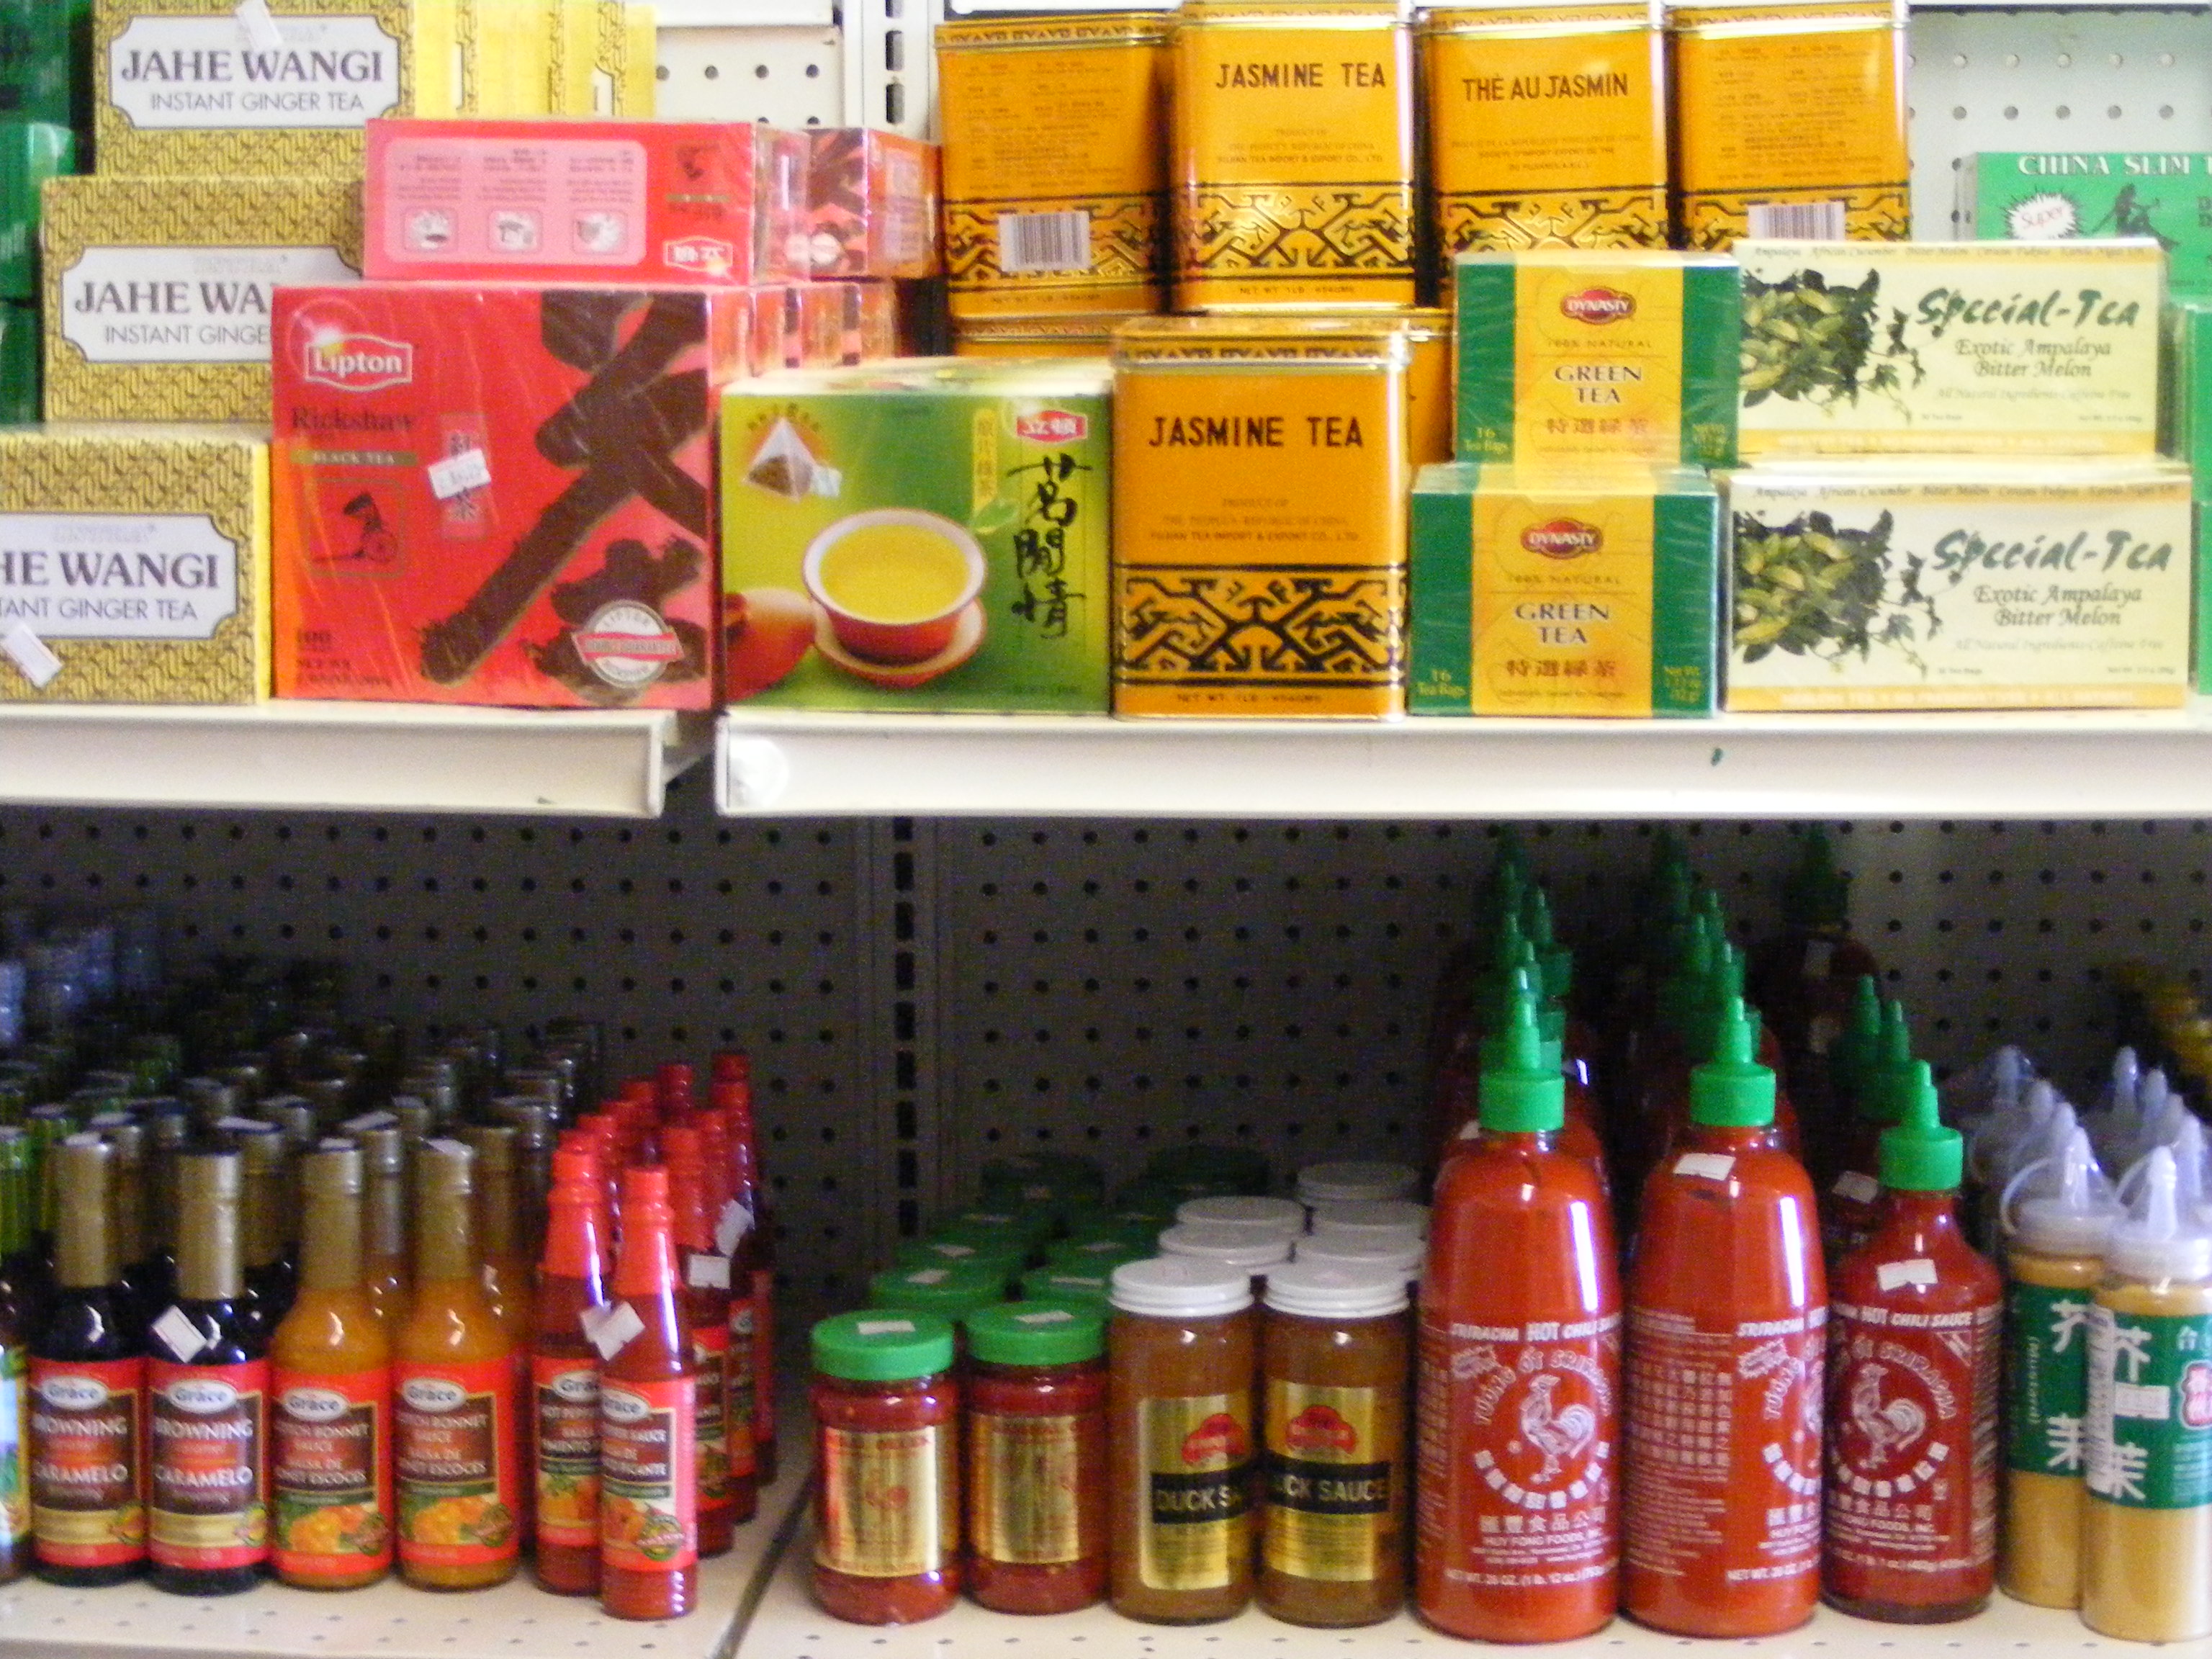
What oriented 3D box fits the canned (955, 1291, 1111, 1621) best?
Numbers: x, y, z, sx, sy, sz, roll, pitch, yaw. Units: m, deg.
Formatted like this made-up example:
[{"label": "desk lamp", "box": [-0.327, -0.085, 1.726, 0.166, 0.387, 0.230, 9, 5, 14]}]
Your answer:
[{"label": "canned", "box": [-0.058, 0.570, 2.514, 0.143, 0.265, 0.073, -5, 12, -1]}]
